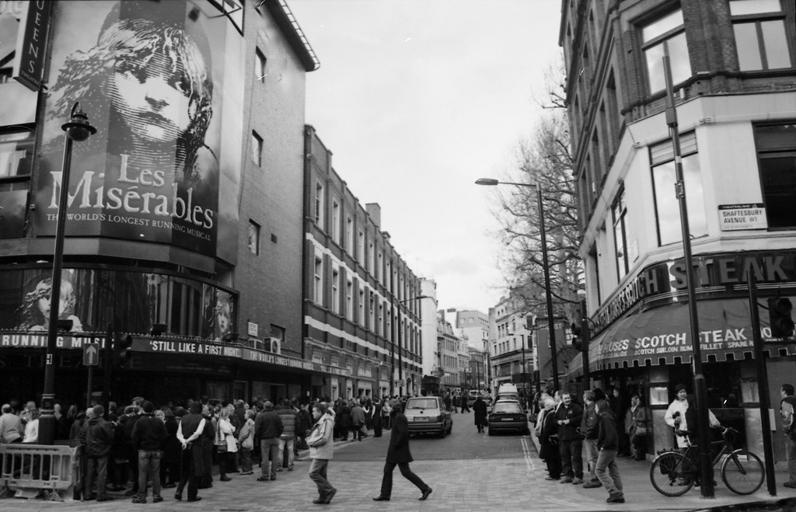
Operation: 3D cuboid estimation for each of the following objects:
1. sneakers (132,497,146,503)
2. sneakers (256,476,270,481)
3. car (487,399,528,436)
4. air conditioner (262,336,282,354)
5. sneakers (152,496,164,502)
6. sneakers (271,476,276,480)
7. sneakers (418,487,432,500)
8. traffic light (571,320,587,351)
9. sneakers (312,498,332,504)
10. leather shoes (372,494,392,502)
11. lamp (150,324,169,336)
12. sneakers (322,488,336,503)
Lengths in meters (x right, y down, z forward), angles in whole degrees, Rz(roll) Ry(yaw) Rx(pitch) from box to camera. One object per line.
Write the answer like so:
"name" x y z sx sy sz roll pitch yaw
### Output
"sneakers" -7.346 6.893 20.874 0.372 0.164 0.165 5 -10 11
"sneakers" -4.422 7.259 24.038 0.334 0.150 0.157 3 -7 4
"car" 5.719 8.529 38.586 2.223 1.801 5.392 -1 -4 6
"air conditioner" -6.340 4.468 36.648 0.289 0.758 0.868 -8 -15 17
"sneakers" -6.856 6.923 20.987 0.262 0.187 0.296 4 -18 -20
"sneakers" -4.084 7.289 24.119 0.110 0.112 0.098 -7 -10 29
"sneakers" 0.768 6.745 20.700 0.245 0.556 0.185 30 26 -7
"traffic light" 5.543 2.489 22.532 0.414 0.874 1.118 -2 -16 1
"sneakers" -2.103 6.746 20.438 0.514 0.261 0.275 1 -16 -8
"leather shoes" -0.458 6.771 20.562 0.481 0.218 0.184 3 -12 9
"lamp" -9.443 2.908 28.904 0.508 0.421 0.757 12 -3 -25
"sneakers" -1.898 6.673 20.504 0.228 0.558 0.182 15 3 -6
